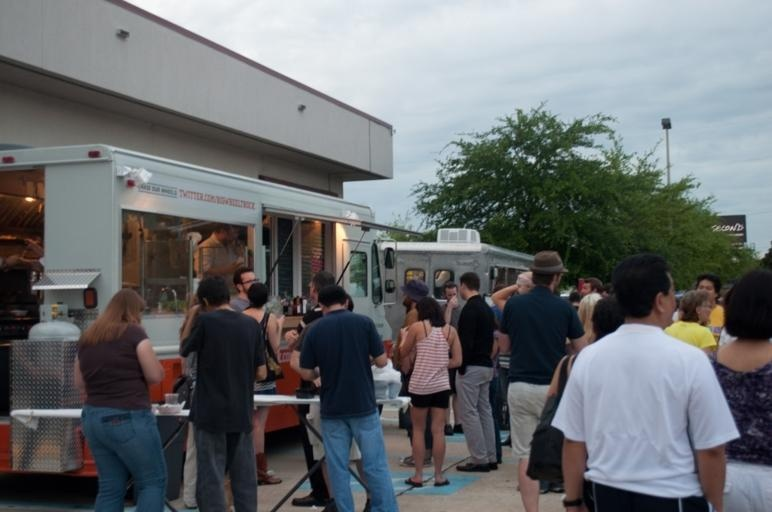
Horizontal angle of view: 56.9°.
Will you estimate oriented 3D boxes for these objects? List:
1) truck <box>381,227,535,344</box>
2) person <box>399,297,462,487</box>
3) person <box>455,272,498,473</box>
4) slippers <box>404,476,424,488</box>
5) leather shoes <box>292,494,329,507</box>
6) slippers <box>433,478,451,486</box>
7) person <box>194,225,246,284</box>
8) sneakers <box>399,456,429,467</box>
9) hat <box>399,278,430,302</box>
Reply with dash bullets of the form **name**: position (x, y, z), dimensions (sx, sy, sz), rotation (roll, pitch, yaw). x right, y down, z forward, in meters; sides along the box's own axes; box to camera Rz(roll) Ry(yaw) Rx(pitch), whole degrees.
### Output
- **truck**: position (1.952, 0.615, 15.544), dimensions (1.821, 2.271, 5.156), rotation (-13, 5, -24)
- **person**: position (0.534, 1.523, 8.140), dimensions (0.663, 2.113, 0.451), rotation (1, -4, -31)
- **person**: position (1.111, 1.401, 8.669), dimensions (0.536, 2.401, 0.478), rotation (0, -3, -7)
- **slippers**: position (0.320, 2.531, 8.000), dimensions (0.079, 0.063, 0.194), rotation (1, 5, -45)
- **leather shoes**: position (-0.799, 2.539, 7.511), dimensions (0.363, 0.129, 0.145), rotation (4, -10, -1)
- **slippers**: position (0.640, 2.541, 8.031), dimensions (0.219, 0.070, 0.106), rotation (1, -3, -24)
- **person**: position (-1.944, -0.016, 8.237), dimensions (0.370, 1.008, 0.489), rotation (8, 14, 20)
- **sneakers**: position (0.356, 2.578, 8.961), dimensions (0.346, 0.156, 0.125), rotation (2, -2, 9)
- **hat**: position (0.347, 0.435, 8.983), dimensions (0.295, 0.117, 0.291), rotation (29, 34, 1)
